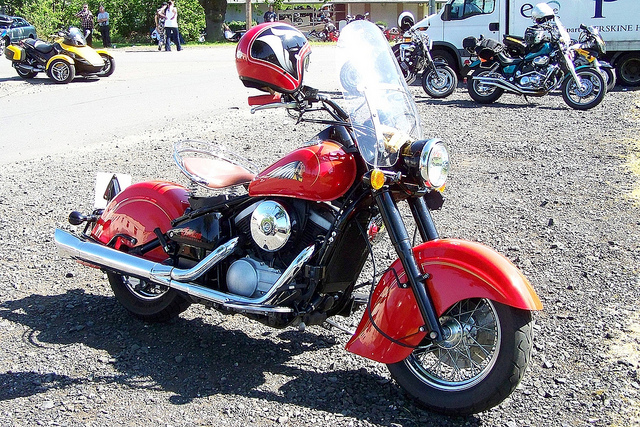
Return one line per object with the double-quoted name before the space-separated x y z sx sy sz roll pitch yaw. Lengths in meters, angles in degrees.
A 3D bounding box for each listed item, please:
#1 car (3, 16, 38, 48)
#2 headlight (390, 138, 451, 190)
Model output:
"car" -16.044 -9.793 28.063 1.473 1.150 6.210 -16 26 -23
"headlight" 0.727 -0.434 4.158 0.367 0.349 0.571 -4 17 -35
